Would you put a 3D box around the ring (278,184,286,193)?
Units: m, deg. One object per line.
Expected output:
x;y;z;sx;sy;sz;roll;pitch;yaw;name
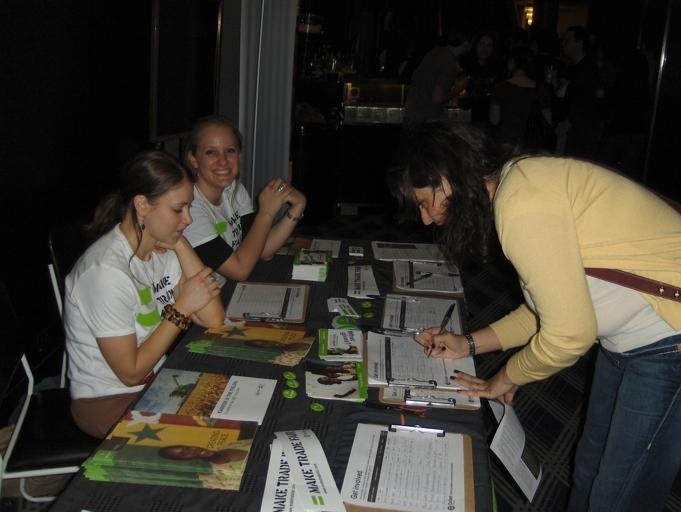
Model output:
-0.282;-0.333;2.195;0.026;0.015;0.035;-4;30;-3;ring

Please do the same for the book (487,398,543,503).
0.461;0.507;1.170;0.125;0.174;0.200;11;22;25;book

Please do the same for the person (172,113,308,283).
-0.525;-0.114;2.345;0.688;1.102;0.567;-10;31;-26;person

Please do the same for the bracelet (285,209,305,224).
-0.242;-0.190;2.386;0.108;0.052;0.121;3;37;0;bracelet
